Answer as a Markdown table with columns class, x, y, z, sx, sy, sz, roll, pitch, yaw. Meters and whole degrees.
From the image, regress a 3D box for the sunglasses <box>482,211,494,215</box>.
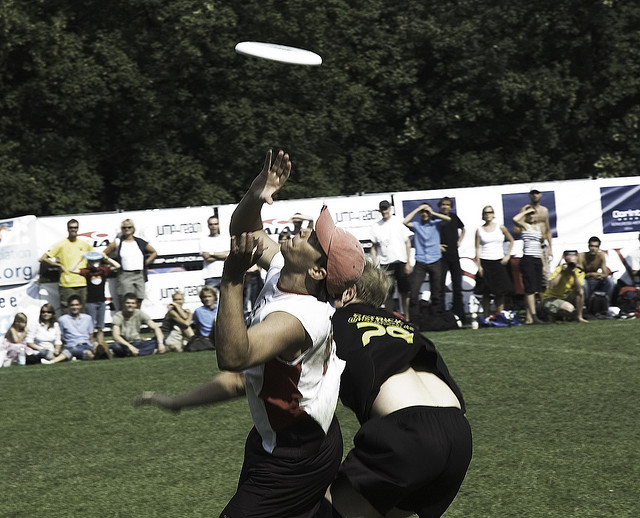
| class | x | y | z | sx | sy | sz | roll | pitch | yaw |
| --- | --- | --- | --- | --- | --- | --- | --- | --- | --- |
| sunglasses | 2.710 | -0.764 | 15.692 | 0.167 | 0.052 | 0.057 | 0 | -2 | -16 |

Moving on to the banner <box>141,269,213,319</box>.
| class | x | y | z | sx | sy | sz | roll | pitch | yaw |
| --- | --- | --- | --- | --- | --- | --- | --- | --- | --- |
| banner | -2.232 | 0.577 | 15.623 | 0.058 | 0.863 | 1.580 | -2 | -1 | 32 |

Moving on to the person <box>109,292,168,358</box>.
| class | x | y | z | sx | sy | sz | roll | pitch | yaw |
| --- | --- | --- | --- | --- | --- | --- | --- | --- | --- |
| person | -2.740 | 1.007 | 14.861 | 0.900 | 0.827 | 0.672 | 2 | 12 | -5 |
